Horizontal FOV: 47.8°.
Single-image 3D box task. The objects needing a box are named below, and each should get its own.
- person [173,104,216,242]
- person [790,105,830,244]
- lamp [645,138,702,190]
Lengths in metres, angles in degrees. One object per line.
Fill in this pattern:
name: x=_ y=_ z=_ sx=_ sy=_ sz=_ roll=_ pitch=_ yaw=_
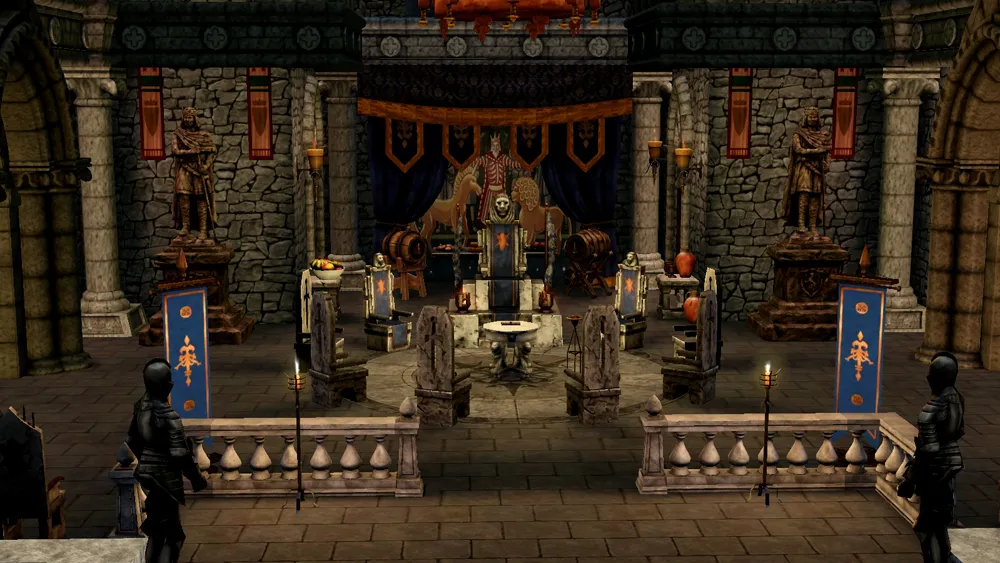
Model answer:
person: x=-5.784 y=-2.019 z=21.282 sx=0.864 sy=2.446 sz=0.425 roll=-4 pitch=11 yaw=-10
person: x=5.829 y=-2.086 z=21.457 sx=0.721 sy=2.363 sz=0.469 roll=1 pitch=12 yaw=13
lamp: x=3.823 y=-2.518 z=23.937 sx=1.141 sy=1.412 sz=1.215 roll=0 pitch=5 yaw=-15
